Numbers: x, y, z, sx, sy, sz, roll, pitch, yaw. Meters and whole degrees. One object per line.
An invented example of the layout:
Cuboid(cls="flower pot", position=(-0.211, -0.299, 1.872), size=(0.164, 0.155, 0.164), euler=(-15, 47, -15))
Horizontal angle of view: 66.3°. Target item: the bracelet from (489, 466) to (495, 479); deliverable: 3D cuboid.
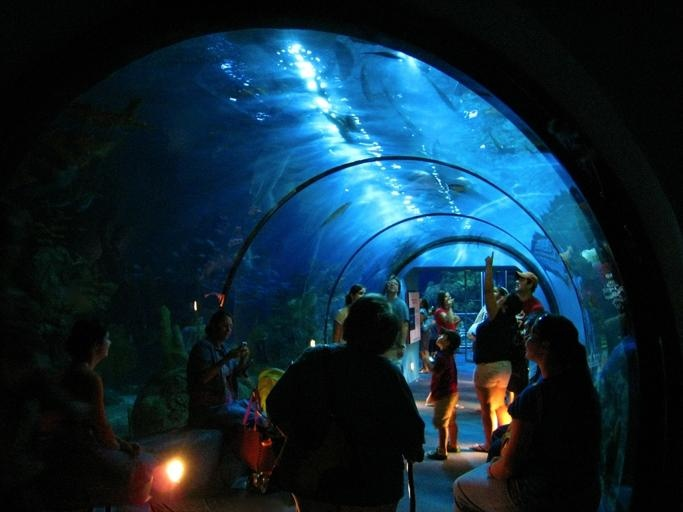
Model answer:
Cuboid(cls="bracelet", position=(1.309, 1.906, 4.575), size=(0.029, 0.075, 0.057), euler=(-9, -28, 28))

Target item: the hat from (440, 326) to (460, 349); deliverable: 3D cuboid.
Cuboid(cls="hat", position=(1.681, 1.293, 8.066), size=(0.305, 0.326, 0.260), euler=(4, 8, 37))

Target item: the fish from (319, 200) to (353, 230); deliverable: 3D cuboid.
Cuboid(cls="fish", position=(-0.115, -0.821, 10.502), size=(0.578, 0.445, 0.471), euler=(2, -14, -2))

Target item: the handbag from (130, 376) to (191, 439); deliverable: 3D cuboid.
Cuboid(cls="handbag", position=(-3.036, 2.364, 8.609), size=(0.830, 1.167, 0.419), euler=(14, -12, -38))

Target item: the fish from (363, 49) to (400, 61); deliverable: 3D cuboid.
Cuboid(cls="fish", position=(0.386, -1.856, 4.842), size=(0.115, 0.073, 0.512), euler=(-11, 15, -18))

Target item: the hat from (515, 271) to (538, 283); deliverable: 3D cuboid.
Cuboid(cls="hat", position=(2.841, 0.316, 7.900), size=(0.350, 0.138, 0.224), euler=(17, 0, -1))

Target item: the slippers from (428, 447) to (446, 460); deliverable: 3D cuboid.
Cuboid(cls="slippers", position=(1.466, 3.016, 7.949), size=(0.294, 0.129, 0.120), euler=(1, -2, 23))

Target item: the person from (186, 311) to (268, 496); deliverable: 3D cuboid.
Cuboid(cls="person", position=(-1.625, 1.906, 7.097), size=(0.939, 2.310, 0.871), euler=(9, -16, -29))
